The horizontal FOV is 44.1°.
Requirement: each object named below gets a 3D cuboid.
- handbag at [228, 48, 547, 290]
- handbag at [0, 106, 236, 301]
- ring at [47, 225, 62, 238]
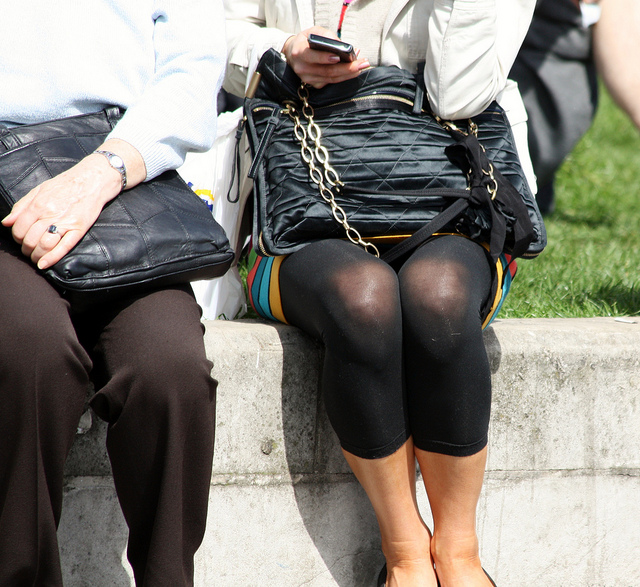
[{"bbox_3d":[0.261,-0.261,2.104,0.654,0.338,0.809,2,38,14],"label":"handbag"},{"bbox_3d":[-0.473,-0.199,1.746,0.413,0.279,0.515,-29,52,-23],"label":"handbag"},{"bbox_3d":[-0.518,-0.120,1.549,0.025,0.019,0.018,-6,45,-4],"label":"ring"}]
